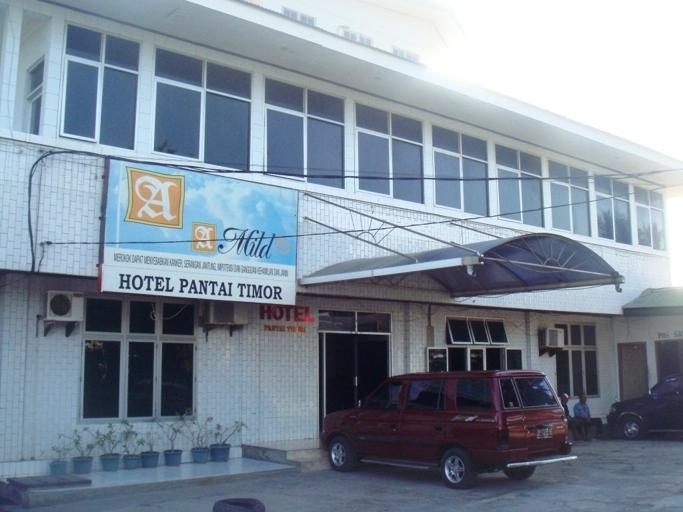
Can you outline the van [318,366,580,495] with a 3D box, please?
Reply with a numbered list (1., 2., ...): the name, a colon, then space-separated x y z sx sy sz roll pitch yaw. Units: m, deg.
1. van: 2.147 4.006 17.227 5.950 2.494 1.862 -9 -13 32
